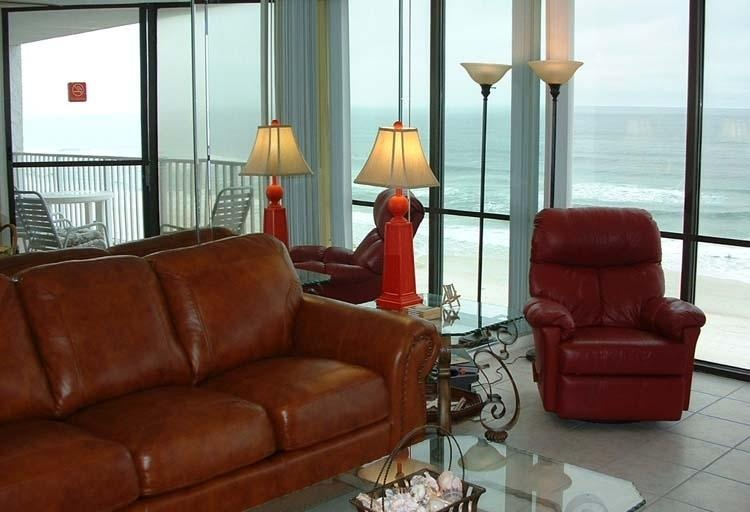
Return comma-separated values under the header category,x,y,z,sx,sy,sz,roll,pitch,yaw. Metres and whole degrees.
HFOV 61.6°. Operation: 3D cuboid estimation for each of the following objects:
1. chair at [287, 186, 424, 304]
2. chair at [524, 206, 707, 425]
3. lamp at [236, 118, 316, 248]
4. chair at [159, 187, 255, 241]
category,x,y,z,sx,sy,sz,roll,pitch,yaw
chair,-0.137,-0.132,5.094,1.052,0.911,0.831,4,9,-3
chair,1.592,0.380,4.305,1.103,1.185,1.299,2,13,20
lamp,-0.714,-0.546,4.587,0.472,0.890,0.740,-3,10,-9
chair,-1.398,-0.379,5.380,0.840,0.523,0.433,7,9,33
